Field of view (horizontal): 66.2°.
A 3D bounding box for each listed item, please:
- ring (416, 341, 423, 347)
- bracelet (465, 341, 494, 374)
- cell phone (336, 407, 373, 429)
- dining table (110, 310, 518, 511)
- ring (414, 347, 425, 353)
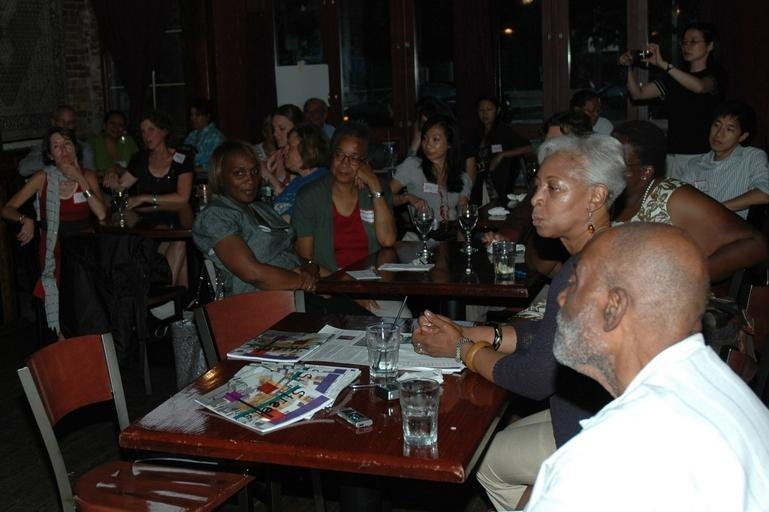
[{"bbox_3d":[0.134,0.348,2.311,0.028,0.017,0.007,-3,4,27],"label":"ring"},{"bbox_3d":[0.333,0.381,2.197,0.040,0.107,0.090,27,16,-34],"label":"bracelet"},{"bbox_3d":[-0.102,0.518,1.910,0.051,0.019,0.096,-6,14,-39],"label":"cell phone"},{"bbox_3d":[-0.136,0.581,2.003,0.815,0.470,0.799,3,13,15],"label":"dining table"},{"bbox_3d":[0.134,0.371,2.319,0.033,0.018,0.014,10,2,-5],"label":"ring"}]
